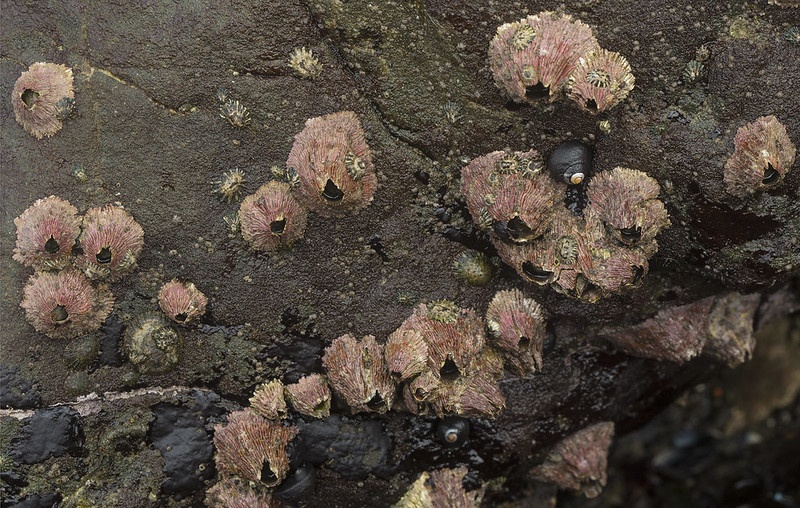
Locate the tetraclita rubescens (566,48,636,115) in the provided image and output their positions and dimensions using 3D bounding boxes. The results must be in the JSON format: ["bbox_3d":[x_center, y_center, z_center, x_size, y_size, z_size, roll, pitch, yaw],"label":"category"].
[{"bbox_3d":[2.581,-2.280,12.195,0.817,0.378,0.838,23,86,-6],"label":"tetraclita rubescens"}]

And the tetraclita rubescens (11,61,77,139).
[{"bbox_3d":[-4.710,-2.042,12.433,0.797,0.512,0.902,-4,66,-10],"label":"tetraclita rubescens"}]
